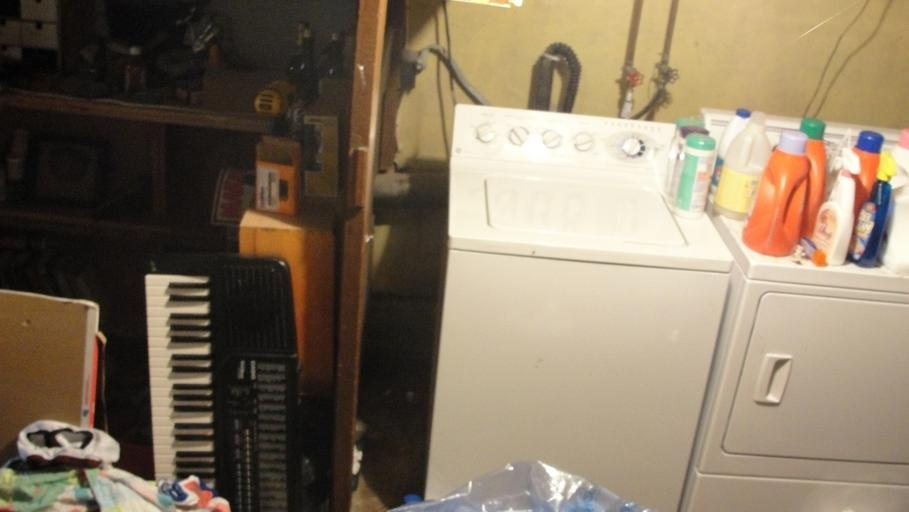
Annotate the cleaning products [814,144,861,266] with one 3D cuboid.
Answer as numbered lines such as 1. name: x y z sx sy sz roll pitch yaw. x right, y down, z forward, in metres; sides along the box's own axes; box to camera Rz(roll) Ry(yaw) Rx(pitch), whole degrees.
1. cleaning products: 1.667 -0.211 3.274 0.166 0.533 0.192 4 0 26
